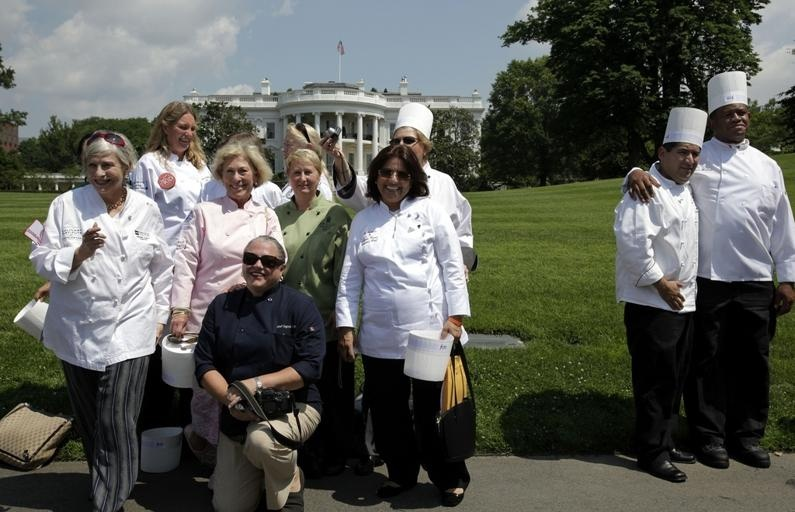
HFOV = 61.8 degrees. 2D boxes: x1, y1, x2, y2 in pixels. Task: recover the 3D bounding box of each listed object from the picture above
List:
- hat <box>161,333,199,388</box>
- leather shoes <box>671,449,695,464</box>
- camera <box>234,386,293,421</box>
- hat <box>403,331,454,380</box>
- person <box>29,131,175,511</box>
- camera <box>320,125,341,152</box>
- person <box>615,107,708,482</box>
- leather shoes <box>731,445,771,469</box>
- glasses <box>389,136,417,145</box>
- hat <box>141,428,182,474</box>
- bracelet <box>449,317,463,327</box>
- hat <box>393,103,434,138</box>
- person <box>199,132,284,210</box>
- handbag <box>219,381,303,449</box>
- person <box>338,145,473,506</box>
[{"bbox_3d":[-2.340,1.101,7.099,0.500,0.532,0.550,0,-2,-11],"label":"hat"},{"bbox_3d":[3.318,2.326,7.745,0.312,0.109,0.124,-4,17,19],"label":"leather shoes"},{"bbox_3d":[-1.258,1.466,6.637,0.359,0.346,0.156,2,9,-10],"label":"camera"},{"bbox_3d":[0.268,1.020,6.822,0.414,0.411,0.559,2,-7,40],"label":"hat"},{"bbox_3d":[-3.115,0.647,6.888,1.045,3.864,1.071,1,7,13],"label":"person"},{"bbox_3d":[-0.760,-1.340,7.620,0.200,0.284,0.105,39,4,35],"label":"camera"},{"bbox_3d":[3.069,0.352,7.734,0.990,4.160,0.885,-6,9,-40],"label":"person"},{"bbox_3d":[4.114,2.307,7.724,0.402,0.193,0.246,3,7,21],"label":"leather shoes"},{"bbox_3d":[0.055,-1.337,7.690,0.316,0.092,0.207,1,7,11],"label":"glasses"},{"bbox_3d":[-2.721,2.212,7.563,0.390,0.342,0.468,-4,-11,17],"label":"hat"},{"bbox_3d":[0.618,0.693,7.137,0.124,0.081,0.083,10,-12,-28],"label":"bracelet"},{"bbox_3d":[0.183,-1.574,7.999,0.385,0.342,0.461,2,-35,26],"label":"hat"},{"bbox_3d":[-2.015,-1.022,8.684,0.835,1.104,0.427,2,6,-3],"label":"person"},{"bbox_3d":[-1.310,1.619,6.748,0.675,0.307,0.692,30,1,33],"label":"handbag"},{"bbox_3d":[0.019,0.682,7.253,1.387,3.743,0.694,-1,7,-6],"label":"person"}]
